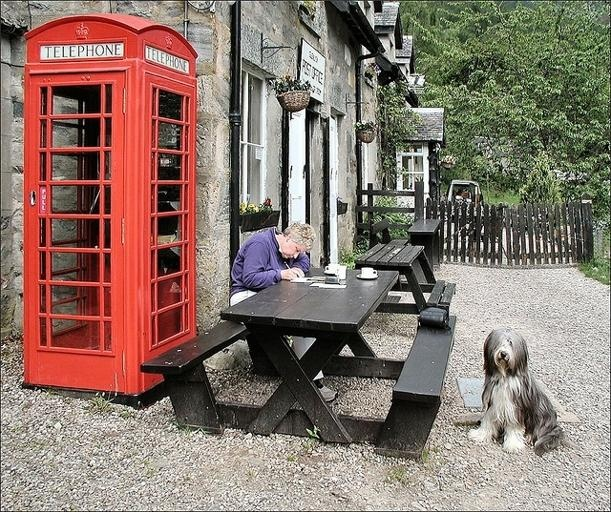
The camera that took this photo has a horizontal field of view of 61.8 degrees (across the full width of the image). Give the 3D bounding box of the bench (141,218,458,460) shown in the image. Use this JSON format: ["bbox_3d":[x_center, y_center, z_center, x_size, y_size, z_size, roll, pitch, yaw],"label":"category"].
[{"bbox_3d":[0.176,0.534,4.221,1.985,1.524,2.332,3,8,19],"label":"bench"}]

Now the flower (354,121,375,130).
[{"bbox_3d":[1.336,-2.931,11.602,0.262,0.146,0.280,3,6,31],"label":"flower"}]

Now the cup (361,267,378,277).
[{"bbox_3d":[0.601,0.144,4.783,0.105,0.087,0.090,3,1,7],"label":"cup"}]

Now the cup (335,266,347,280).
[{"bbox_3d":[0.321,0.147,4.550,0.093,0.130,0.103,-1,7,-6],"label":"cup"}]

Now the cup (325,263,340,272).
[{"bbox_3d":[0.245,0.114,4.682,0.102,0.085,0.076,-2,7,0],"label":"cup"}]

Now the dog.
[{"bbox_3d":[1.503,0.914,3.854,0.694,1.074,0.669,0,5,-8],"label":"dog"}]

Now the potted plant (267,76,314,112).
[{"bbox_3d":[-0.166,-2.073,6.725,0.465,0.417,0.431,3,9,44],"label":"potted plant"}]

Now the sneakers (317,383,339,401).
[{"bbox_3d":[0.188,1.173,4.319,0.128,0.064,0.240,-5,18,-30],"label":"sneakers"}]

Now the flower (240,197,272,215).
[{"bbox_3d":[-0.589,-0.560,6.127,0.297,0.110,0.225,0,9,25],"label":"flower"}]
